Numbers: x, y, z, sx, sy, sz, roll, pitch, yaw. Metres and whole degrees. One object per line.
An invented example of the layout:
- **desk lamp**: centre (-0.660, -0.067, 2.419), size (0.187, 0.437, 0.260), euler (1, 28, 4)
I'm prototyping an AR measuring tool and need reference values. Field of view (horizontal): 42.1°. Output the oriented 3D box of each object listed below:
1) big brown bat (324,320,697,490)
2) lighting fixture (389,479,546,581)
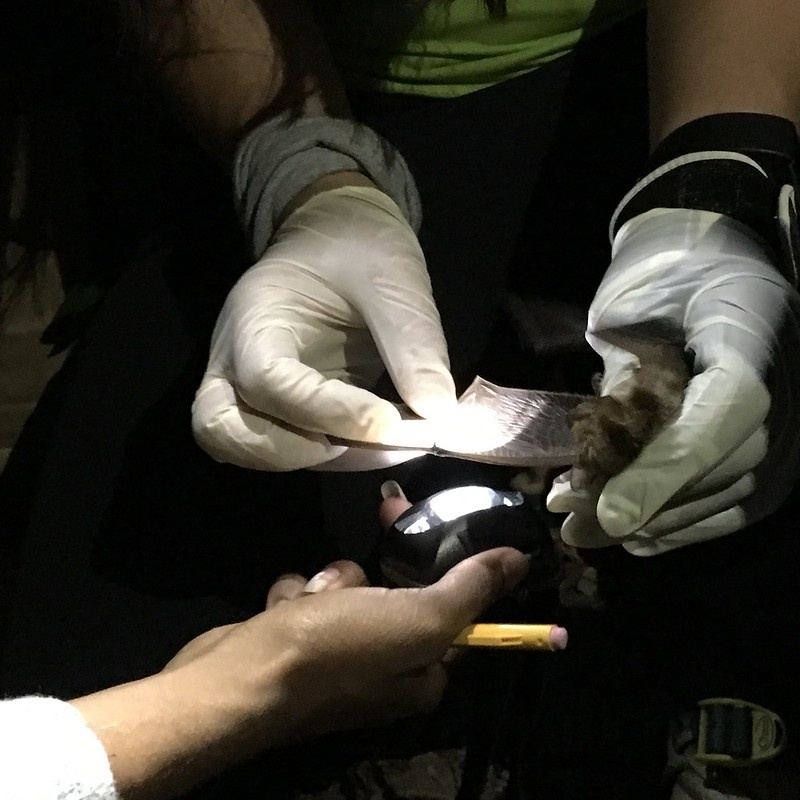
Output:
- **big brown bat**: centre (0.265, 0.020, 2.022), size (0.481, 0.317, 0.597), euler (-15, 23, -42)
- **lighting fixture**: centre (0.119, 0.274, 2.194), size (0.361, 0.176, 0.093), euler (-8, 90, -9)
